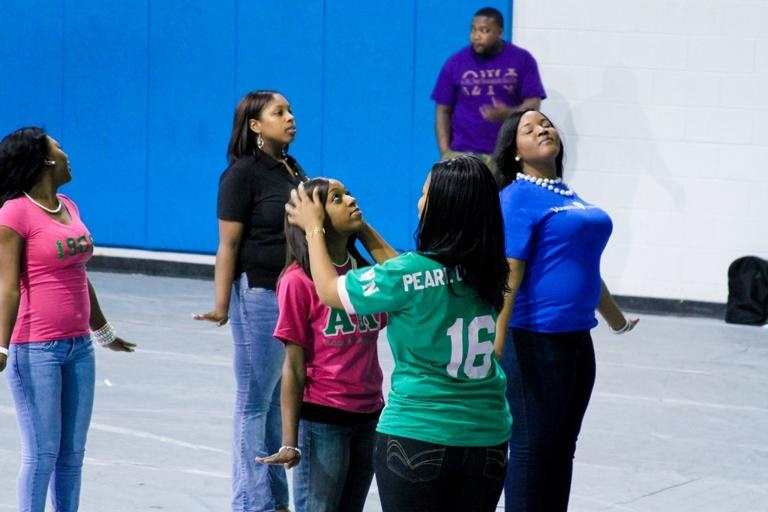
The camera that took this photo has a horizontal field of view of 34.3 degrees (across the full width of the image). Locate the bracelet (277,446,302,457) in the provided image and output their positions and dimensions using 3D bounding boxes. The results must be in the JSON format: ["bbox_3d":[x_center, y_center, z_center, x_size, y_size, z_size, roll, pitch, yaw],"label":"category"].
[{"bbox_3d":[-0.575,1.206,7.642,0.101,0.039,0.075,2,6,11],"label":"bracelet"}]

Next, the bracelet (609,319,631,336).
[{"bbox_3d":[1.628,0.483,8.616,0.139,0.067,0.186,-26,-12,-6],"label":"bracelet"}]

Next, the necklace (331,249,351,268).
[{"bbox_3d":[-0.260,0.002,7.869,0.139,0.097,0.175,4,18,-3],"label":"necklace"}]

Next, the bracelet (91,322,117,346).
[{"bbox_3d":[-1.941,0.552,8.580,0.176,0.167,0.175,-9,-1,3],"label":"bracelet"}]
